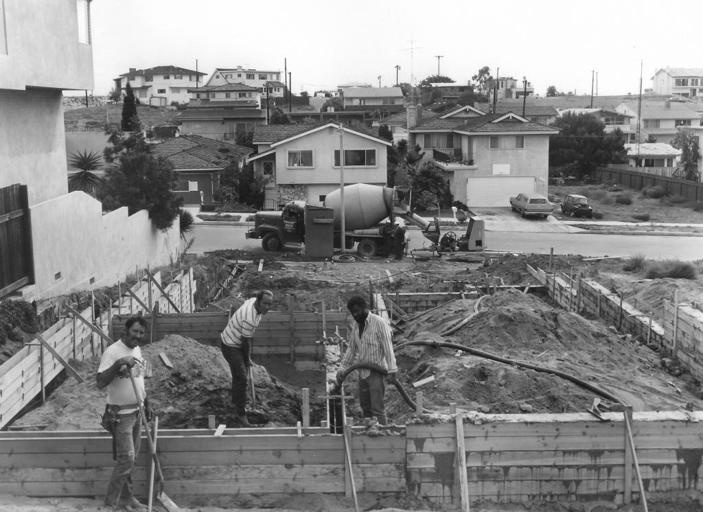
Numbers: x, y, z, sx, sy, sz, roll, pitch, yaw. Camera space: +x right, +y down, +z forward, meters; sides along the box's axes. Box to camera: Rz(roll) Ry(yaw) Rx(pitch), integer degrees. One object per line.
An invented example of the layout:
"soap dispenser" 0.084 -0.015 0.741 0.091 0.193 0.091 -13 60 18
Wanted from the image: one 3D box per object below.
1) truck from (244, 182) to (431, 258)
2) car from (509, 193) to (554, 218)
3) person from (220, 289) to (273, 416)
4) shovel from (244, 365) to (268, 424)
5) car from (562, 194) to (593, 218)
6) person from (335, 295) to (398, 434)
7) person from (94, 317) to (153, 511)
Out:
"truck" -0.001 -1.024 37.813 7.147 3.437 2.590 2 7 -3
"car" 8.130 -2.315 49.410 1.155 0.949 3.138 -1 9 -5
"person" -1.984 1.928 20.822 1.133 3.192 1.062 -1 22 -5
"shovel" -1.824 2.596 20.396 0.477 0.980 0.214 -20 -9 41
"car" 10.160 -2.265 49.561 0.813 0.877 1.952 -2 9 -12
"person" 0.284 1.757 19.121 1.016 2.197 0.797 2 8 12
"person" -3.675 2.535 17.632 0.751 3.150 0.451 -2 7 -14
